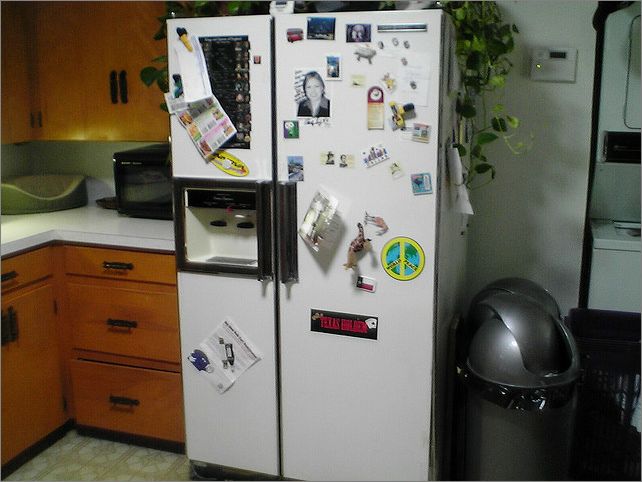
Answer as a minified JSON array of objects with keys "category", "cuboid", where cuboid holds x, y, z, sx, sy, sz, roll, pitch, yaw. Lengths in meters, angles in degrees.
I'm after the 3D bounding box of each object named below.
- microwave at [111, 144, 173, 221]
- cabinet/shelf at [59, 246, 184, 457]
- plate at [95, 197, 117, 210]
[{"category":"microwave","cuboid":[-1.080,-0.332,3.232,0.249,0.364,0.467,9,12,37]},{"category":"cabinet/shelf","cuboid":[-1.013,0.495,3.278,0.765,1.132,0.834,7,16,18]},{"category":"plate","cuboid":[-1.334,-0.238,3.442,0.171,0.084,0.061,7,6,9]}]
